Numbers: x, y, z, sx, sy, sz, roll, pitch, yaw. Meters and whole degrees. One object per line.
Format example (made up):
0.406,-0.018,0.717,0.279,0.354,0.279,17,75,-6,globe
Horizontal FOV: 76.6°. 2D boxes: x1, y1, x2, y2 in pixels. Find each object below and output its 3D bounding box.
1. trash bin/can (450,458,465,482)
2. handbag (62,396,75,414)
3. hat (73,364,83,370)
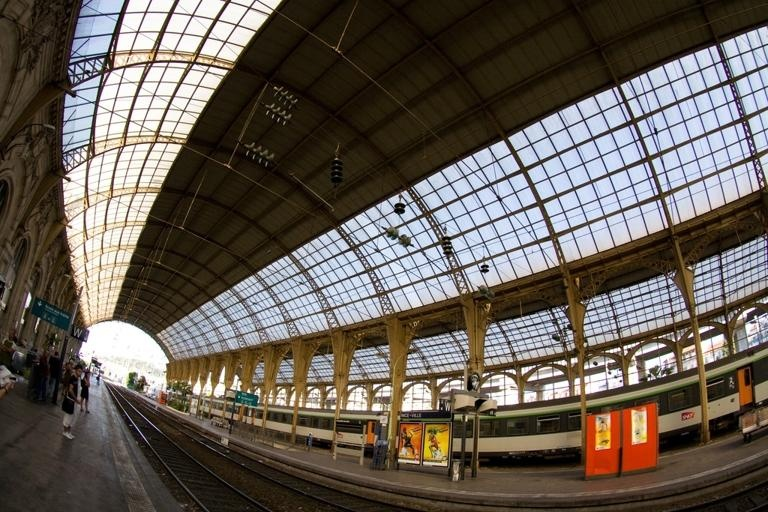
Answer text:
5.325,15.453,35.176,1.193,1.778,1.225,4,-10,-8,trash bin/can
-16.039,7.678,24.944,0.540,0.798,0.654,15,-27,-30,handbag
-16.193,5.979,26.072,0.269,0.343,0.350,11,4,-44,hat
